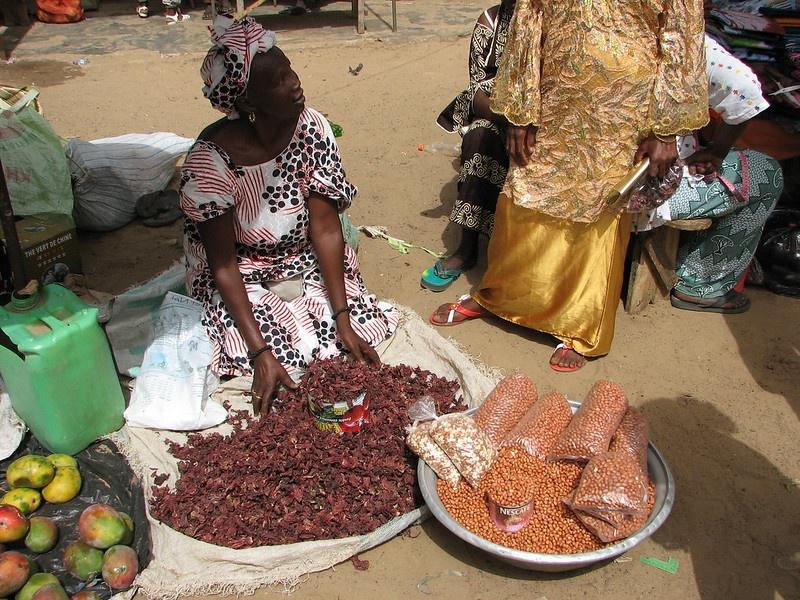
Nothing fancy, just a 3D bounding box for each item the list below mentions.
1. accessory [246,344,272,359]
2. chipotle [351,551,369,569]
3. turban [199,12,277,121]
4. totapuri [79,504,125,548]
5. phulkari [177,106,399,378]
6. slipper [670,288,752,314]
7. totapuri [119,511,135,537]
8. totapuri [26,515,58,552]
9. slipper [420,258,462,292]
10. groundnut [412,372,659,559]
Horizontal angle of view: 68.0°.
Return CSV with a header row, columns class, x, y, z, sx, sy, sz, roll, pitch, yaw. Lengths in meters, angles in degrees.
class,x,y,z,sx,sy,sz,roll,pitch,yaw
accessory,-0.887,0.331,3.716,0.106,0.123,0.036,-3,70,-55
chipotle,-0.204,1.370,3.126,0.081,0.032,0.083,-14,41,-16
turban,-0.895,-1.278,3.323,0.335,0.546,0.359,23,45,26
totapuri,-1.504,1.140,3.130,0.212,0.221,0.212,11,79,0
phulkari,-0.819,-0.373,4.109,1.281,1.861,1.212,-4,31,-21
slipper,2.339,0.023,4.462,0.438,0.133,0.224,0,30,4
totapuri,-1.453,1.192,3.183,0.073,0.108,0.125,-2,74,6
totapuri,-1.875,1.217,3.125,0.136,0.139,0.176,1,70,-3
slipper,0.312,-0.187,4.722,0.184,0.100,0.332,31,44,23
groundnut,0.738,0.841,3.072,0.936,0.401,0.906,4,40,8
